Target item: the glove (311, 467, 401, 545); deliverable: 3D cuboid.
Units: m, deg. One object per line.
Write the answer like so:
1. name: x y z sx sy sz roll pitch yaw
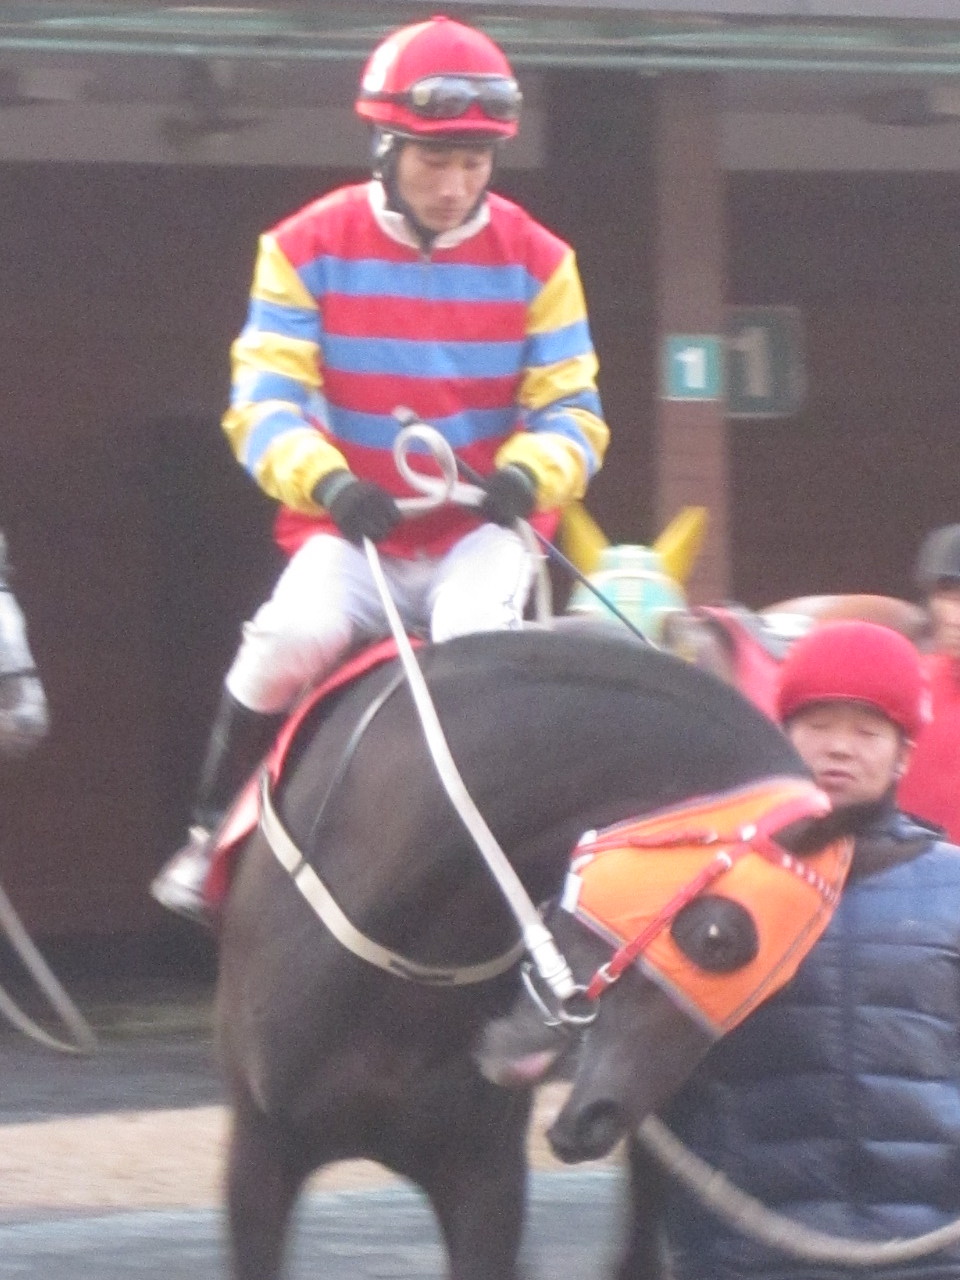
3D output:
1. glove: -0.132 -0.138 2.305 0.100 0.065 0.078 -9 44 -20

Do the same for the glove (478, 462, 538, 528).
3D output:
1. glove: 0.026 -0.156 2.305 0.080 0.059 0.023 24 0 -9

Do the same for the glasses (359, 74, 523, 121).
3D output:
1. glasses: -0.044 -0.576 2.283 0.107 0.027 0.127 -1 0 -30

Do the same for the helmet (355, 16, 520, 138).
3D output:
1. helmet: -0.056 -0.592 2.305 0.158 0.088 0.187 0 6 -26
